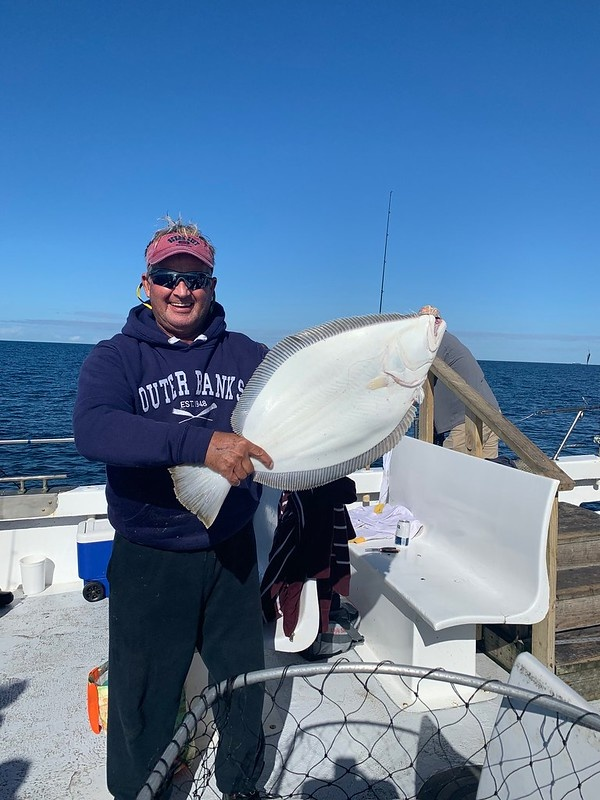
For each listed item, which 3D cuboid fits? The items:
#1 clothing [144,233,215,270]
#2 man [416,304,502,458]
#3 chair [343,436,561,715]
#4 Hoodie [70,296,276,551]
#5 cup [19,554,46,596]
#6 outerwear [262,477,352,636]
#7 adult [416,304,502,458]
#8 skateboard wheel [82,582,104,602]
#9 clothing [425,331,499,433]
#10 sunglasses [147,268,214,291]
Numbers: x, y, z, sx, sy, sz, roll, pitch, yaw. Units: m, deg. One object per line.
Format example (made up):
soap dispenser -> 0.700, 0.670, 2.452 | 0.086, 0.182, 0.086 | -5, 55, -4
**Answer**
clothing -> -0.400, -0.500, 2.438 | 0.224, 0.126, 0.124 | -2, 5, -11
man -> 0.845, -0.012, 4.052 | 0.446, 1.078, 0.500 | 7, 27, 28
chair -> 0.695, 0.828, 3.344 | 0.600, 0.770, 1.349 | 3, -2, -12
Hoodie -> -0.412, 0.167, 2.436 | 0.820, 0.820, 0.242 | 12, -6, 32
cup -> -1.702, 1.113, 4.691 | 0.165, 0.241, 0.174 | -1, 5, 0
outerwear -> 0.094, 0.671, 3.256 | 0.486, 0.664, 0.240 | -4, -27, 26
adult -> 0.845, -0.012, 4.052 | 0.446, 1.078, 0.500 | 7, 27, 28
skateboard wheel -> -1.281, 1.189, 4.553 | 0.110, 0.104, 0.040 | -29, 24, -6
clothing -> 0.911, -0.068, 4.273 | 0.443, 0.673, 0.529 | -10, 9, 13
sunglasses -> -0.394, -0.396, 2.431 | 0.214, 0.071, 0.103 | -2, 5, -11
